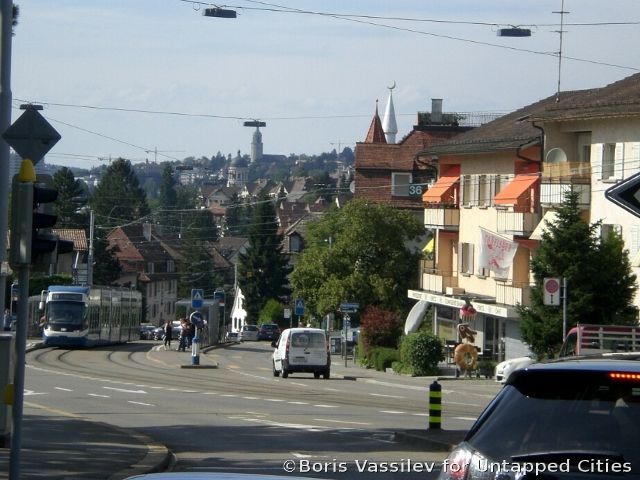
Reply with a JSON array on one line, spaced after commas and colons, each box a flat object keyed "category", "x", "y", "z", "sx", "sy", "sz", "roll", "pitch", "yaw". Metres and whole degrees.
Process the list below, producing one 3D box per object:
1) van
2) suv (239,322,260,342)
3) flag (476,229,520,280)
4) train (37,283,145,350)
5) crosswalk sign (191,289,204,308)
[{"category": "van", "x": -0.626, "y": 4.008, "z": 56.060, "sx": 1.745, "sy": 1.989, "sz": 2.346, "roll": 1, "pitch": -6, "yaw": -12}, {"category": "suv", "x": -4.999, "y": 6.589, "z": 114.320, "sx": 0.991, "sy": 0.906, "sz": 1.760, "roll": 1, "pitch": 2, "yaw": -6}, {"category": "flag", "x": 6.912, "y": 0.304, "z": 61.694, "sx": 1.581, "sy": 1.947, "sz": 0.480, "roll": 1, "pitch": -6, "yaw": 31}, {"category": "train", "x": -10.785, "y": 3.538, "z": 75.100, "sx": 3.781, "sy": 3.616, "sz": 18.019, "roll": 4, "pitch": -6, "yaw": -4}, {"category": "crosswalk sign", "x": -4.690, "y": 2.146, "z": 60.793, "sx": 0.397, "sy": 0.701, "sz": 0.766, "roll": 5, "pitch": -6, "yaw": -8}]
